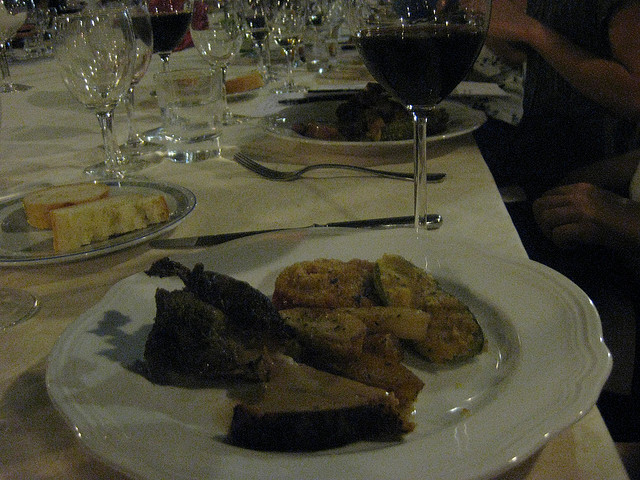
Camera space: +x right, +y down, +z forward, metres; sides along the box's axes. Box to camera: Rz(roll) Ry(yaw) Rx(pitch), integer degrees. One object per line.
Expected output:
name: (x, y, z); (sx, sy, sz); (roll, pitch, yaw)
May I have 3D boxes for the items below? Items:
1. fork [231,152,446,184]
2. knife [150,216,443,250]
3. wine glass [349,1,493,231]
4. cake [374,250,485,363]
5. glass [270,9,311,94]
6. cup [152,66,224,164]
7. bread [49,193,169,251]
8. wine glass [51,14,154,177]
fork: (0.054, -0.166, 1.298); (0.517, 0.068, 0.065); (5, 30, 2)
knife: (-0.070, -0.007, 0.974); (0.554, 0.045, 0.060); (-6, 1, 19)
wine glass: (0.162, -0.239, 0.941); (0.190, 0.404, 0.208); (2, 27, 9)
cake: (0.141, 0.089, 0.754); (0.089, 0.046, 0.164); (-11, 44, -29)
glass: (-0.138, -0.826, 2.405); (0.169, 0.348, 0.178); (-2, 22, -1)
cup: (-0.354, -0.310, 1.522); (0.150, 0.299, 0.171); (2, 14, 22)
bread: (-0.373, -0.042, 0.983); (0.201, 0.064, 0.062); (-20, 30, -28)
wine glass: (-0.482, -0.364, 1.381); (0.198, 0.403, 0.221); (-6, 27, -9)
